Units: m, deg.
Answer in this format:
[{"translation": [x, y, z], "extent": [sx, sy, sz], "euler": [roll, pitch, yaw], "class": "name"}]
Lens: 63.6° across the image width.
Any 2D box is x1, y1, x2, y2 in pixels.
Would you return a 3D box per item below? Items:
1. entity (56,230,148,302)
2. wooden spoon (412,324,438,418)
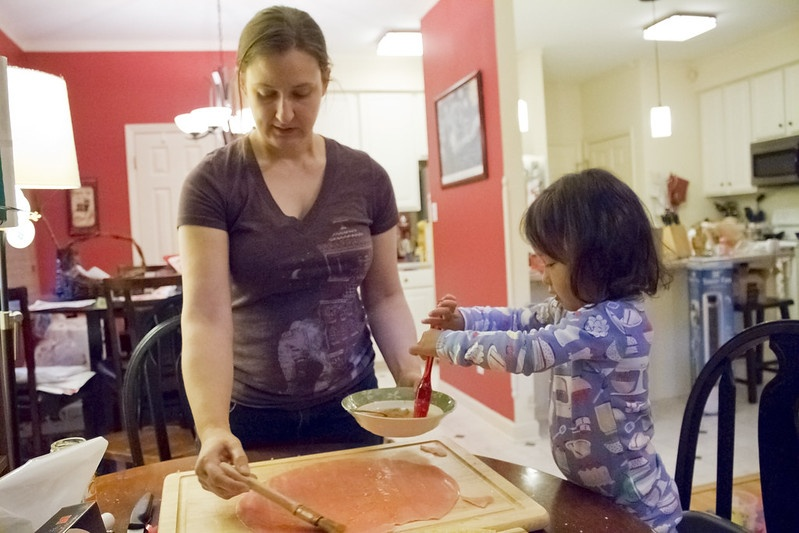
[{"translation": [-2.328, -0.006, 4.959], "extent": [0.546, 0.599, 0.284], "euler": [2, 0, 0], "class": "entity"}, {"translation": [0.077, 0.287, 1.879], "extent": [0.048, 0.298, 0.046], "euler": [15, -31, -2], "class": "wooden spoon"}]
